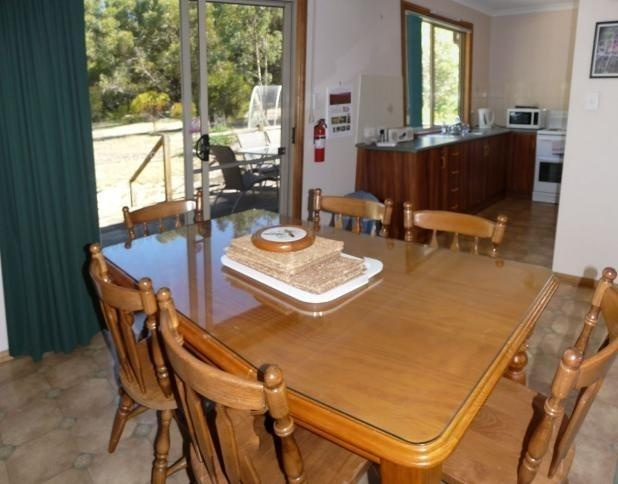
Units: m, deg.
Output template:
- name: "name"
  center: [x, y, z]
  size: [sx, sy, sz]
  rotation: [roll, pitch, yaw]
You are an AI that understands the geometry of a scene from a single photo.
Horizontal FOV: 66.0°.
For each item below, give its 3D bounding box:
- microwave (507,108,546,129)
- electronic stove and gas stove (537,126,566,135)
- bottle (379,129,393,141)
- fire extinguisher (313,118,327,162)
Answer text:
- name: "microwave"
  center: [3.001, -1.733, 6.632]
  size: [0.323, 0.328, 0.463]
  rotation: [-16, 24, -35]
- name: "electronic stove and gas stove"
  center: [3.166, -1.458, 6.278]
  size: [0.296, 0.112, 0.833]
  rotation: [3, 19, 23]
- name: "bottle"
  center: [0.765, -1.095, 4.854]
  size: [0.142, 0.158, 0.096]
  rotation: [-12, 20, -31]
- name: "fire extinguisher"
  center: [0.116, -0.911, 4.288]
  size: [0.102, 0.391, 0.202]
  rotation: [8, 20, 35]
